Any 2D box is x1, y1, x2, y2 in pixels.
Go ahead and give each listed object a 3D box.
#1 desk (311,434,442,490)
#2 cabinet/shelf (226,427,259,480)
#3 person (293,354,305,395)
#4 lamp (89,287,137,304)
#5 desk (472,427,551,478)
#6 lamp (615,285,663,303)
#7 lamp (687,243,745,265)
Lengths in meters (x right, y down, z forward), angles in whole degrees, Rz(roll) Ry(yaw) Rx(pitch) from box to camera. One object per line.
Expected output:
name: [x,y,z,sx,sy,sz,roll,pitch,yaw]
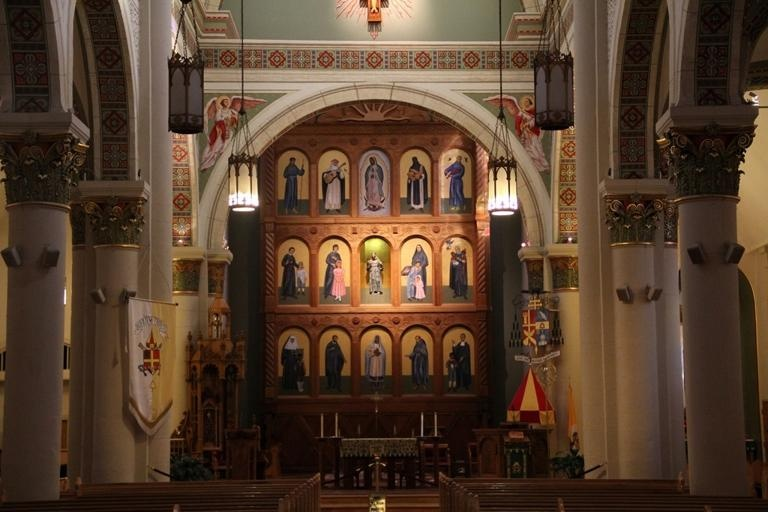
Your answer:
desk: [-0.151,4.151,25.453,2.556,1.042,0.905,1,-5,-7]
cabinet/shelf: [-2.693,3.679,23.965,0.676,1.044,0.719,1,11,-1]
person: [-2.009,2.740,30.271,0.232,0.980,0.080,0,-4,-3]
lamp: [-4.238,0.613,19.815,0.694,0.261,0.410,1,-4,-14]
desk: [2.495,3.800,24.724,1.447,0.977,0.972,0,-4,5]
lamp: [3.977,0.611,20.043,0.443,0.209,0.359,-3,-10,11]
lamp: [4.676,-0.022,17.725,0.659,0.305,0.161,-1,-1,14]
